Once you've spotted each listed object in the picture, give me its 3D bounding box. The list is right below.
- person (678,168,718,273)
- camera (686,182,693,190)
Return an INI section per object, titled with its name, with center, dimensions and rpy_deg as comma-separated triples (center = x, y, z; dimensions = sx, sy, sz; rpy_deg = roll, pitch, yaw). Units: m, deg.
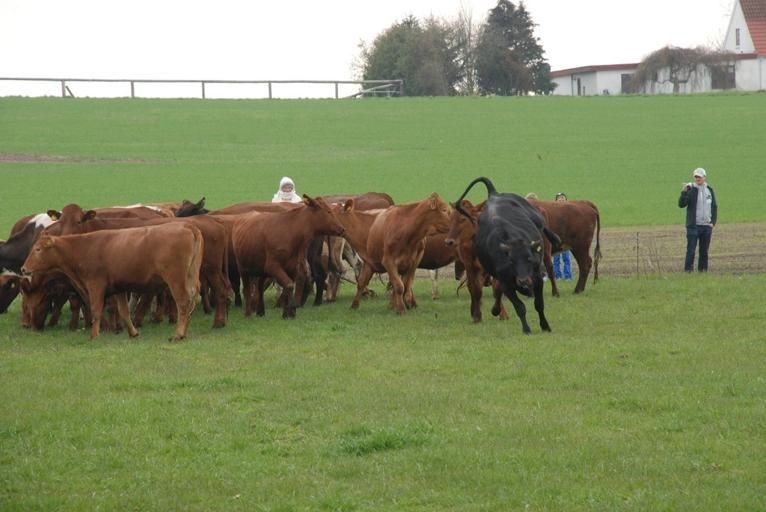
[person]
center = 8.394, -0.889, 30.785
dimensions = 0.766, 2.748, 0.912
rpy_deg = 1, 8, 37
[camera]
center = 8.111, -1.809, 30.650
dimensions = 0.185, 0.137, 0.384
rpy_deg = -4, 6, -9
